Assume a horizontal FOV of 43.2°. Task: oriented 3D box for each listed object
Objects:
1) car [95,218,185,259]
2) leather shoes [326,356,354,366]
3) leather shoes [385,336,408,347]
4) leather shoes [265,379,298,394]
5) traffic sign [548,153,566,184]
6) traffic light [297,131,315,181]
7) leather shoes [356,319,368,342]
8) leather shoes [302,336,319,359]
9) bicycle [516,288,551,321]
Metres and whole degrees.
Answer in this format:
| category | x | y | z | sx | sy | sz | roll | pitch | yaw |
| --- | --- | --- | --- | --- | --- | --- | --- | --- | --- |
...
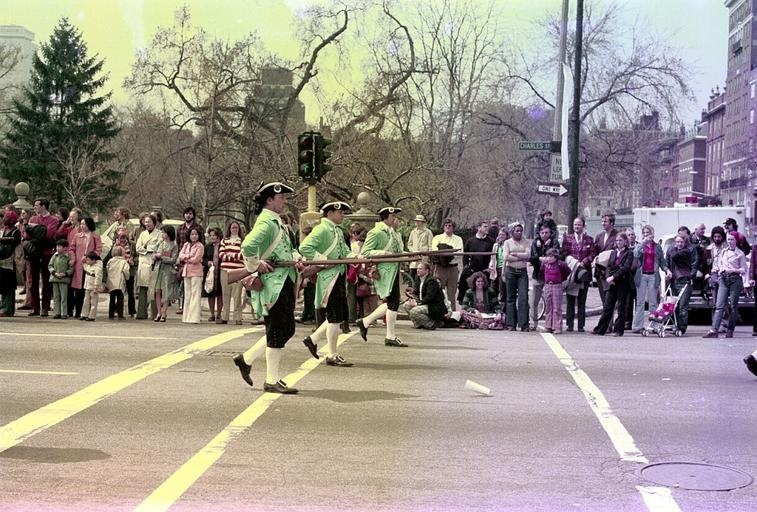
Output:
| category | x | y | z | sx | sy | sz | roll | pitch | yaw |
| --- | --- | --- | --- | --- | --- | --- | --- | --- | --- |
| car | -5.695 | -0.408 | 22.749 | 1.452 | 1.040 | 2.353 | 0 | -7 | -7 |
| leather shoes | -0.668 | 1.801 | 16.515 | 0.488 | 0.174 | 0.172 | 1 | -3 | 3 |
| leather shoes | 0.360 | 1.682 | 18.830 | 0.429 | 0.164 | 0.175 | 0 | -3 | 3 |
| leather shoes | -1.509 | 1.985 | 14.567 | 0.565 | 0.202 | 0.183 | 2 | -2 | 3 |
| traffic sign | 4.710 | -2.364 | 25.088 | 0.429 | 0.737 | 0.577 | -1 | 10 | -8 |
| traffic light | -1.753 | -2.419 | 23.044 | 0.349 | 1.164 | 0.452 | 0 | 10 | -2 |
| leather shoes | -0.342 | 1.487 | 19.018 | 0.233 | 0.501 | 0.170 | -11 | 29 | 5 |
| leather shoes | -1.181 | 1.599 | 16.503 | 0.229 | 0.521 | 0.177 | -19 | 36 | 8 |
| bicycle | 3.798 | 1.077 | 22.108 | 1.283 | 0.710 | 0.605 | -2 | 3 | -4 |
